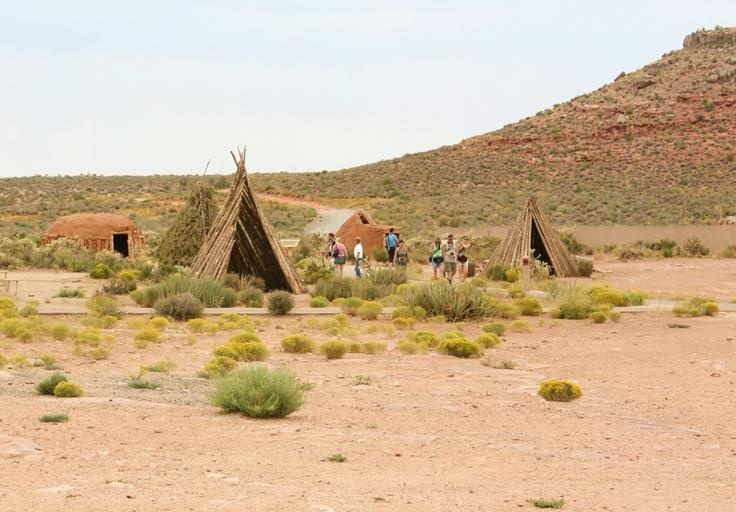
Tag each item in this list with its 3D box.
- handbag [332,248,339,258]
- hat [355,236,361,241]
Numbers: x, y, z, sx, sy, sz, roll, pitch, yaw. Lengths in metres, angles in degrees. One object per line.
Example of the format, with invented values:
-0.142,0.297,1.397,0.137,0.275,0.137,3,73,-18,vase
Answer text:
-0.905,-0.106,26.260,0.204,0.275,0.077,-1,-2,-7,handbag
-0.281,-0.495,25.964,0.138,0.099,0.126,3,1,14,hat
